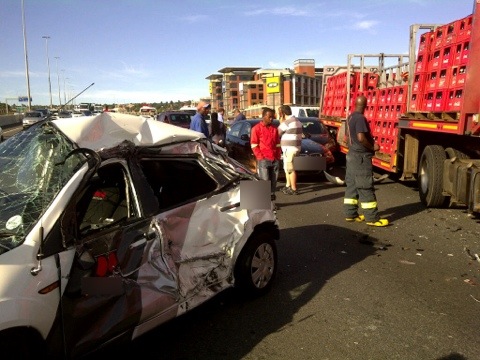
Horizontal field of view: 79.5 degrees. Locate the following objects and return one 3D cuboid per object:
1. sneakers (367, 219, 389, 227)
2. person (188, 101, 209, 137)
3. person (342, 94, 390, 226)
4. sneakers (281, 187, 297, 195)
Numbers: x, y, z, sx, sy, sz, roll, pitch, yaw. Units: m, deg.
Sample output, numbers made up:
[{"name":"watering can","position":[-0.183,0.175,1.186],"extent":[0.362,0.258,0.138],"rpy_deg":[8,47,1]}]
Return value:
[{"name":"sneakers","position":[2.981,0.915,6.180],"extent":[0.369,0.156,0.216],"rpy_deg":[0,4,-1]},{"name":"person","position":[-1.280,-1.896,9.462],"extent":[0.638,1.213,0.888],"rpy_deg":[0,21,-3]},{"name":"person","position":[2.713,-0.262,6.287],"extent":[0.499,2.471,0.867],"rpy_deg":[-8,11,-32]},{"name":"sneakers","position":[1.576,0.360,9.196],"extent":[0.437,0.206,0.189],"rpy_deg":[9,25,22]}]
